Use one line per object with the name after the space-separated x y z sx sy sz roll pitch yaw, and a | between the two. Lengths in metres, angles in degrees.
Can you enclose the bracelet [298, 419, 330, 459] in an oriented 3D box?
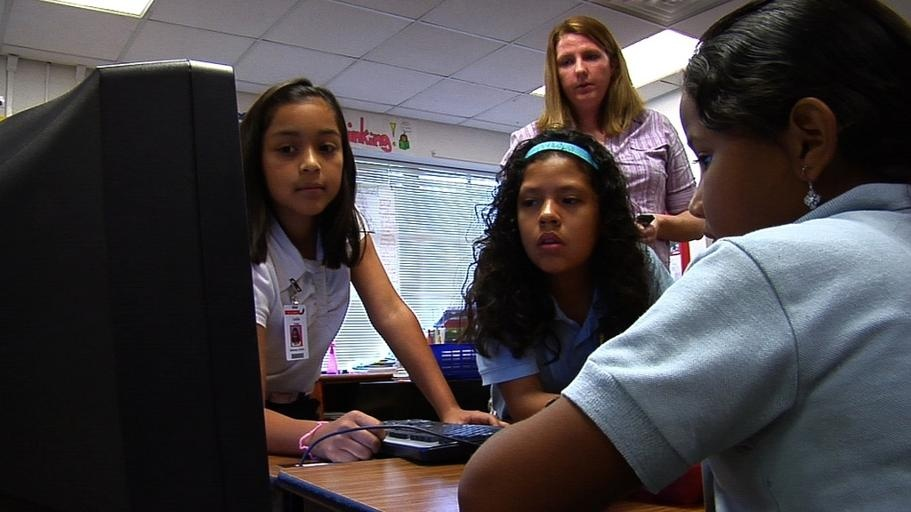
-0.301 0.379 1.256 0.021 0.079 0.064 42 3 -16 | bracelet
